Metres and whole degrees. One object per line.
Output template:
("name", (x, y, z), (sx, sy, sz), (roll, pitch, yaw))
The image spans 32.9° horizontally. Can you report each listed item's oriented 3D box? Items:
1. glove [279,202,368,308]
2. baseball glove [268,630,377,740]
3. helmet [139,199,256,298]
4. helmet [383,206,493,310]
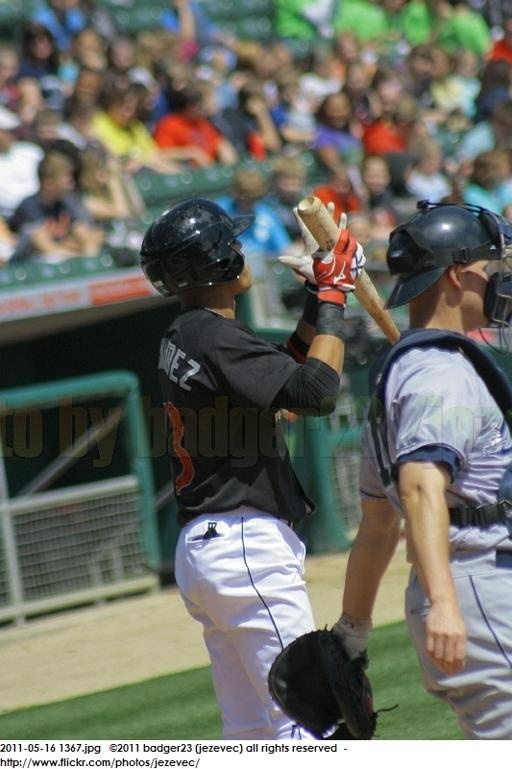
("glove", (0.205, -0.314, 2.275), (0.125, 0.254, 0.254), (-32, -1, 33))
("baseball glove", (0.194, 0.808, 2.429), (0.207, 0.198, 0.519), (7, 5, -11))
("helmet", (-0.174, -0.361, 2.328), (0.327, 0.212, 0.221), (-19, 15, -16))
("helmet", (0.431, -0.319, 2.059), (0.287, 0.247, 0.179), (-8, 5, -9))
